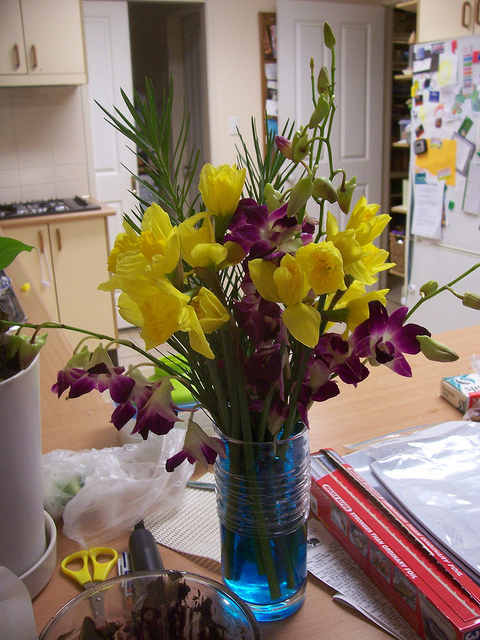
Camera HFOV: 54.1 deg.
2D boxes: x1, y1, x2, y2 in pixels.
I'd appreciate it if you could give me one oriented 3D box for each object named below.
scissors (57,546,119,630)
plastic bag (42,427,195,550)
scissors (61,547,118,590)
[{"bbox_3d":[-0.164,0.294,0.510,0.065,0.015,0.119,4,12,-19],"label":"scissors"},{"bbox_3d":[-0.169,0.227,0.652,0.208,0.097,0.170,-8,11,-10],"label":"plastic bag"},{"bbox_3d":[-0.177,0.286,0.541,0.068,0.015,0.063,-4,11,10],"label":"scissors"}]
